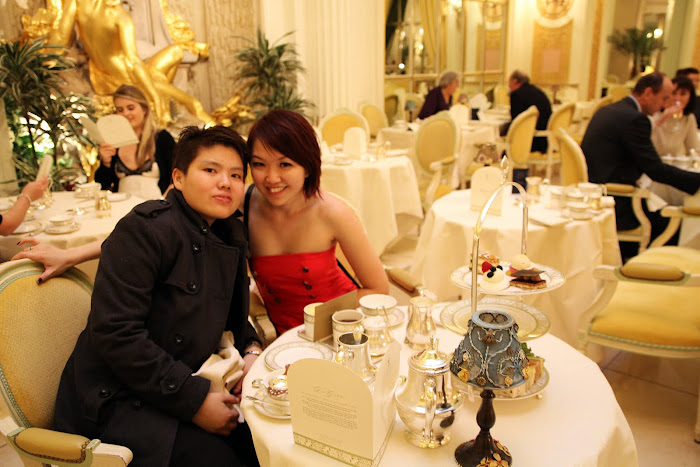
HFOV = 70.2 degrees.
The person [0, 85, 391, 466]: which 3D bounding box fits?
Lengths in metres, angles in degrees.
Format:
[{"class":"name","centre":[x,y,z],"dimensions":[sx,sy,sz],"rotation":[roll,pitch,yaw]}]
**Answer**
[{"class":"person","centre":[-0.594,0.189,2.363],"dimensions":[0.870,1.468,1.434],"rotation":[12,22,40]}]

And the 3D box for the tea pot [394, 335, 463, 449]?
[{"class":"tea pot","centre":[0.268,0.536,1.713],"dimensions":[0.225,0.371,0.148],"rotation":[-3,17,-1]}]

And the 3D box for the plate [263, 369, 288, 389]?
[{"class":"plate","centre":[-0.277,0.550,1.903],"dimensions":[0.093,0.022,0.092],"rotation":[-12,27,-22]}]

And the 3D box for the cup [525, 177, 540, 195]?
[{"class":"cup","centre":[1.366,-0.362,3.770],"dimensions":[0.131,0.160,0.133],"rotation":[-1,3,0]}]

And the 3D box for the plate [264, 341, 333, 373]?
[{"class":"plate","centre":[-0.216,0.498,2.057],"dimensions":[0.275,0.057,0.195],"rotation":[-6,16,-12]}]

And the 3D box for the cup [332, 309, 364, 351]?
[{"class":"cup","centre":[-0.012,0.376,2.022],"dimensions":[0.131,0.142,0.146],"rotation":[2,14,9]}]

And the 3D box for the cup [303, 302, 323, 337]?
[{"class":"cup","centre":[-0.171,0.368,2.120],"dimensions":[0.117,0.136,0.126],"rotation":[1,14,0]}]

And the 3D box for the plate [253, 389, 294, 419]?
[{"class":"plate","centre":[-0.289,0.628,1.842],"dimensions":[0.116,0.020,0.115],"rotation":[5,13,-15]}]
